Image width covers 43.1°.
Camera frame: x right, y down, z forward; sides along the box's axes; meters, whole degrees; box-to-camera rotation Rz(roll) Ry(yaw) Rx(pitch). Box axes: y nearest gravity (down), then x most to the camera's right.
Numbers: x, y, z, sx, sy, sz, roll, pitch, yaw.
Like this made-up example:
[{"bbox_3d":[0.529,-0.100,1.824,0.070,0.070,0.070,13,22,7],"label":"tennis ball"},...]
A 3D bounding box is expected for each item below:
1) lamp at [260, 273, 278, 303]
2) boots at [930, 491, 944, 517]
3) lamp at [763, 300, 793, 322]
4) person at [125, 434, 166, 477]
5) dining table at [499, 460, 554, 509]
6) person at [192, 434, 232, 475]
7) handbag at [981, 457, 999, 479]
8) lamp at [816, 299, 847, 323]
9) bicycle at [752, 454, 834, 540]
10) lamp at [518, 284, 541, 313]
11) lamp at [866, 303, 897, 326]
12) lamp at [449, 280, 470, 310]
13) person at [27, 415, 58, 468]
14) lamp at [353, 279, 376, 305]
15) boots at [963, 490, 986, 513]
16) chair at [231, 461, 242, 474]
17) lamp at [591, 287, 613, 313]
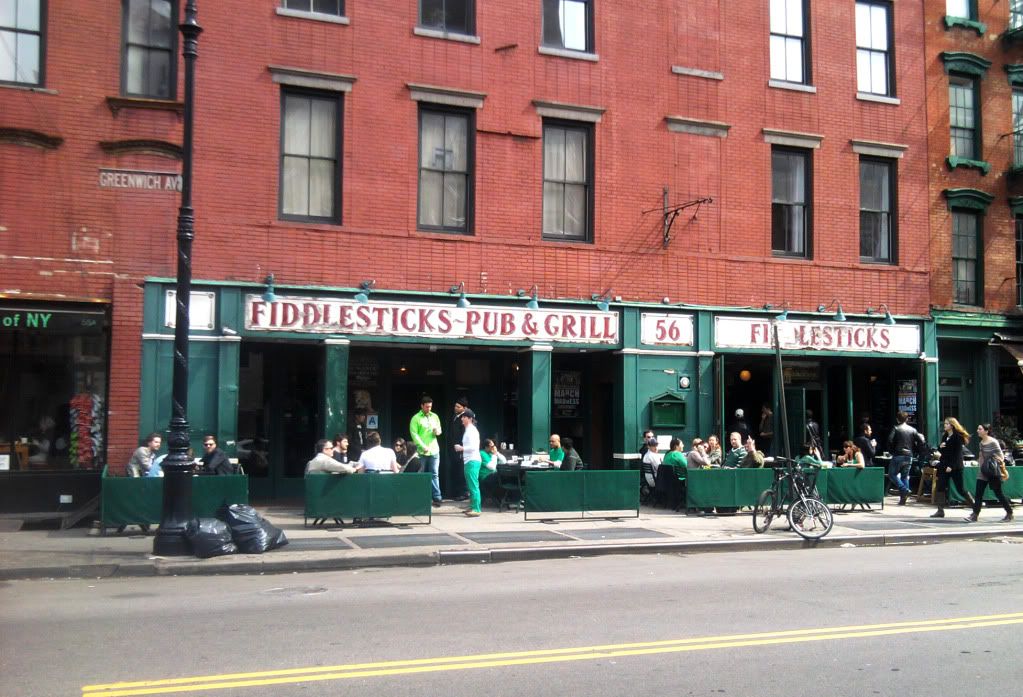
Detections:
[{"bbox_3d":[-5.418,-1.331,29.019,0.330,0.618,0.276,2,-8,-24],"label":"lamp"},{"bbox_3d":[9.789,3.586,29.601,0.292,0.587,0.645,-3,-7,17],"label":"boots"},{"bbox_3d":[6.861,-0.948,33.026,0.827,0.553,0.272,2,-8,-25],"label":"lamp"},{"bbox_3d":[-7.688,2.266,27.180,0.715,0.938,1.585,1,-8,-16],"label":"person"},{"bbox_3d":[0.101,3.193,30.007,1.055,1.402,1.118,-1,2,42],"label":"dining table"},{"bbox_3d":[-6.242,2.355,27.420,0.768,0.854,0.761,-3,-20,-2],"label":"person"},{"bbox_3d":[10.914,2.709,29.517,0.348,0.583,0.603,-3,-3,9],"label":"handbag"},{"bbox_3d":[8.310,-0.914,33.544,0.829,0.551,0.444,0,0,19],"label":"lamp"},{"bbox_3d":[5.935,3.266,27.014,1.079,1.386,2.241,8,-14,-10],"label":"bicycle"},{"bbox_3d":[0.435,-1.204,30.849,0.539,0.590,0.549,0,-1,17],"label":"lamp"},{"bbox_3d":[9.726,-0.858,33.958,0.717,0.555,0.694,-4,-8,19],"label":"lamp"},{"bbox_3d":[-1.144,-1.244,30.345,0.455,0.644,0.473,-8,-10,43],"label":"lamp"},{"bbox_3d":[-10.050,1.988,27.668,0.475,1.059,0.117,0,-7,-12],"label":"person"},{"bbox_3d":[-3.364,-1.285,29.650,0.455,0.479,0.449,20,2,-24],"label":"lamp"},{"bbox_3d":[10.828,3.580,30.263,0.321,0.419,1.263,-17,-10,19],"label":"boots"},{"bbox_3d":[-6.173,2.679,28.971,0.142,0.291,0.385,-8,5,-29],"label":"chair"},{"bbox_3d":[2.187,-1.150,31.480,0.523,0.598,1.655,4,-3,-4],"label":"lamp"}]
